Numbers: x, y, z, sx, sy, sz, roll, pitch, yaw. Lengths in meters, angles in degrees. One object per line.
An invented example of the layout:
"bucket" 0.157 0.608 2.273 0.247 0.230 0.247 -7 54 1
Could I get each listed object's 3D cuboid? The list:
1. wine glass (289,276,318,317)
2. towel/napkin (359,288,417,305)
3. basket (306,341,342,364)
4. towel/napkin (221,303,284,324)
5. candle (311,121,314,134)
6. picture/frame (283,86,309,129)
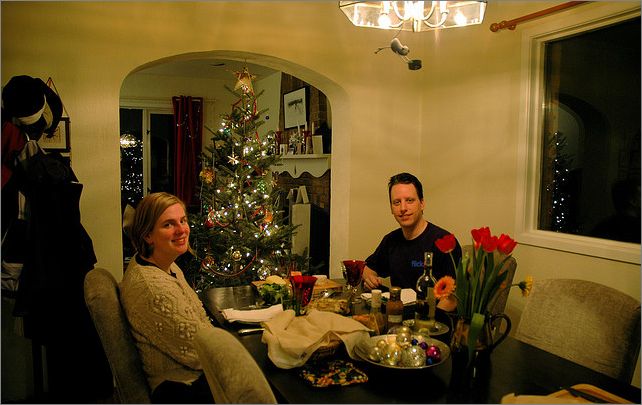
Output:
"wine glass" -0.108 0.510 2.618 0.204 0.255 0.205 -1 1 -7
"towel/napkin" 0.406 0.559 2.727 0.172 0.040 0.174 -1 2 26
"basket" 0.017 0.754 2.319 0.133 0.048 0.128 -37 -13 33
"towel/napkin" -0.387 0.640 2.648 0.179 0.036 0.168 -3 12 -28
"candle" -0.097 -0.982 5.984 0.043 0.163 0.088 0 4 1
"picture/frame" -0.342 -1.352 6.467 0.077 0.653 0.750 -1 3 -22
